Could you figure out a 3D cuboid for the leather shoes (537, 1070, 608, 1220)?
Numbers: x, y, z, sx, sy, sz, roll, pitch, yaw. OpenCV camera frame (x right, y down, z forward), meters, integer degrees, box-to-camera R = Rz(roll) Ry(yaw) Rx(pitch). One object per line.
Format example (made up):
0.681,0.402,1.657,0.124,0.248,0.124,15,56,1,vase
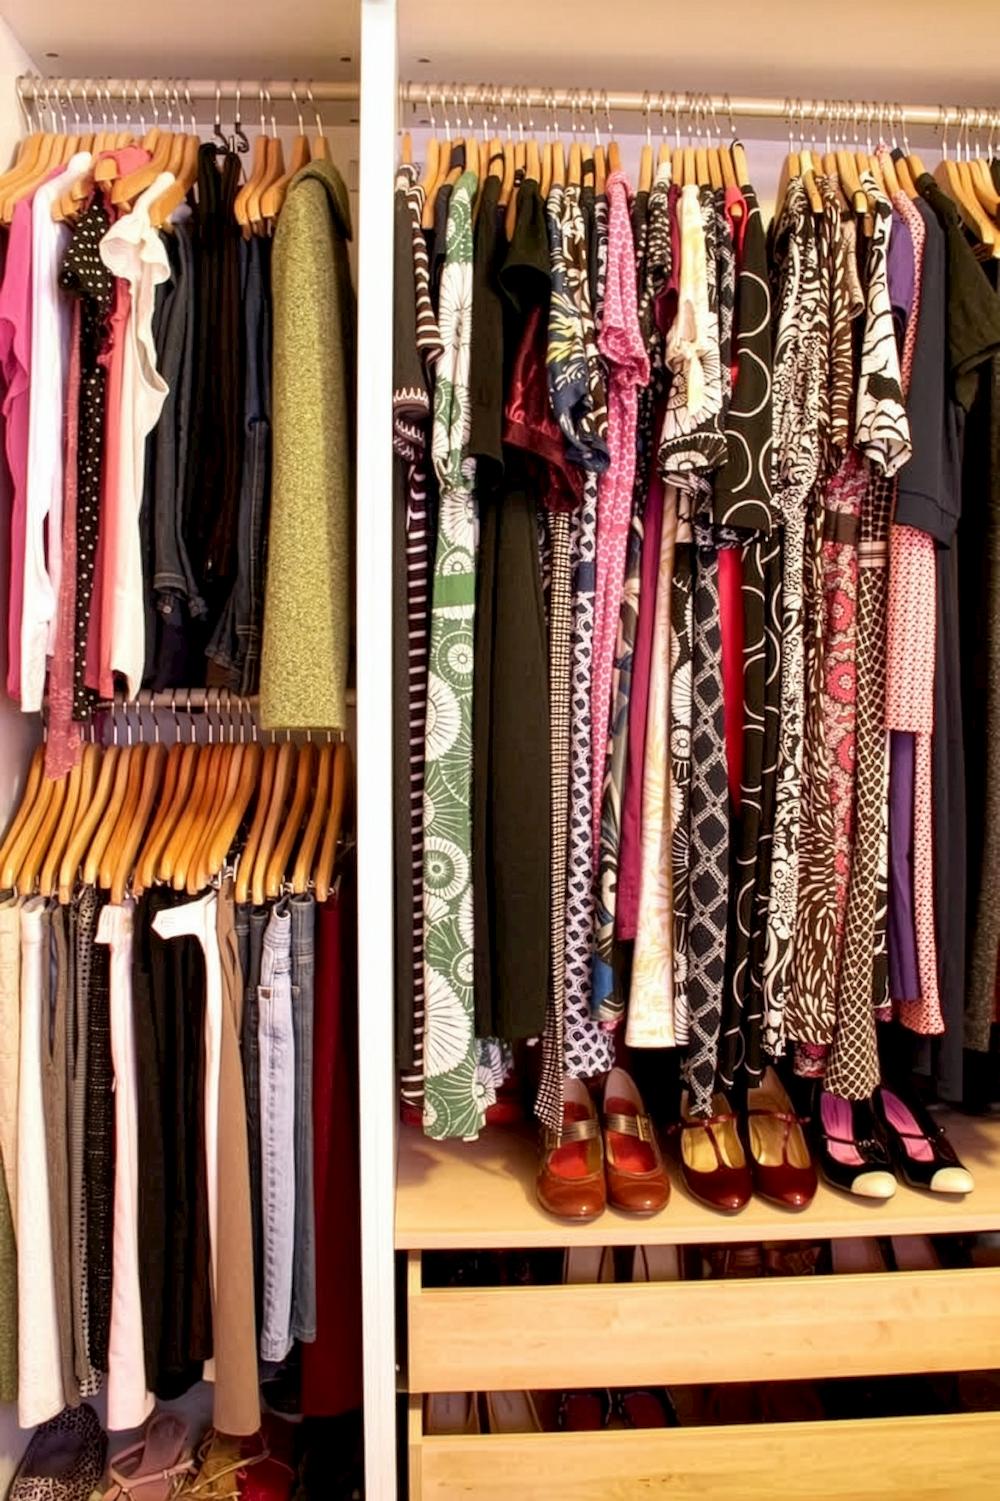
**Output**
0.090,0.494,1.684,0.073,0.105,0.255,-1,6,2,leather shoes

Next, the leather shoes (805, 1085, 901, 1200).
0.459,0.490,1.725,0.077,0.120,0.274,3,3,2,leather shoes

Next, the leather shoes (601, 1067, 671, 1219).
0.169,0.500,1.715,0.064,0.075,0.235,5,19,-6,leather shoes

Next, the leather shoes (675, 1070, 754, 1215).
0.277,0.498,1.710,0.070,0.106,0.245,-4,3,4,leather shoes

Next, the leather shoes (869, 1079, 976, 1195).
0.543,0.490,1.725,0.049,0.055,0.161,-3,18,-8,leather shoes
